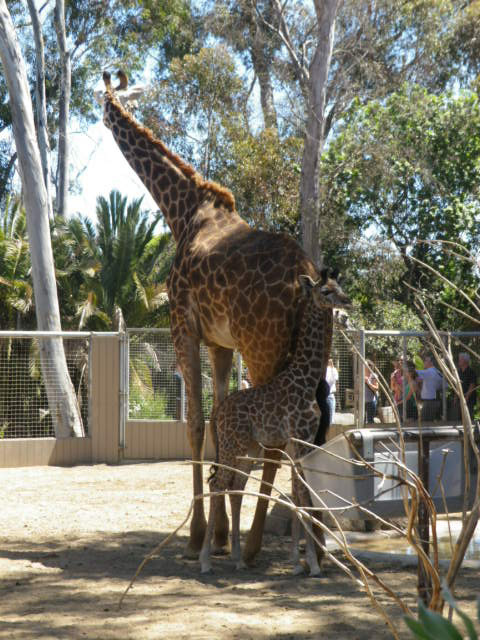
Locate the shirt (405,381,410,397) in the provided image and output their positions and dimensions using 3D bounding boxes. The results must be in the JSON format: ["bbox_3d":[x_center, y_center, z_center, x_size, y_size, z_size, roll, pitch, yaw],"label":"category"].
[{"bbox_3d":[2.172,0.901,11.865,0.033,0.184,0.258,-1,-12,14],"label":"shirt"}]

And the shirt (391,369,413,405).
[{"bbox_3d":[2.119,0.856,11.968,0.249,0.509,1.140,0,-13,7],"label":"shirt"}]

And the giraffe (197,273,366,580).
[{"bbox_3d":[0.251,0.732,6.625,1.013,2.208,3.772,2,-12,-1],"label":"giraffe"}]

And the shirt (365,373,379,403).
[{"bbox_3d":[1.703,0.884,11.834,0.162,0.337,0.688,0,-13,9],"label":"shirt"}]

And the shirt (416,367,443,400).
[{"bbox_3d":[2.472,0.827,11.990,0.326,0.439,0.335,1,-11,5],"label":"shirt"}]

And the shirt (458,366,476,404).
[{"bbox_3d":[2.953,0.835,11.865,0.215,0.572,0.902,-1,-12,14],"label":"shirt"}]

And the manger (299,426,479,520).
[{"bbox_3d":[0.994,1.047,6.268,1.092,0.738,0.887,-2,-5,-22],"label":"manger"}]

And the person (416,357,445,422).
[{"bbox_3d":[2.515,0.900,12.083,0.321,0.917,0.740,-1,-11,13],"label":"person"}]
